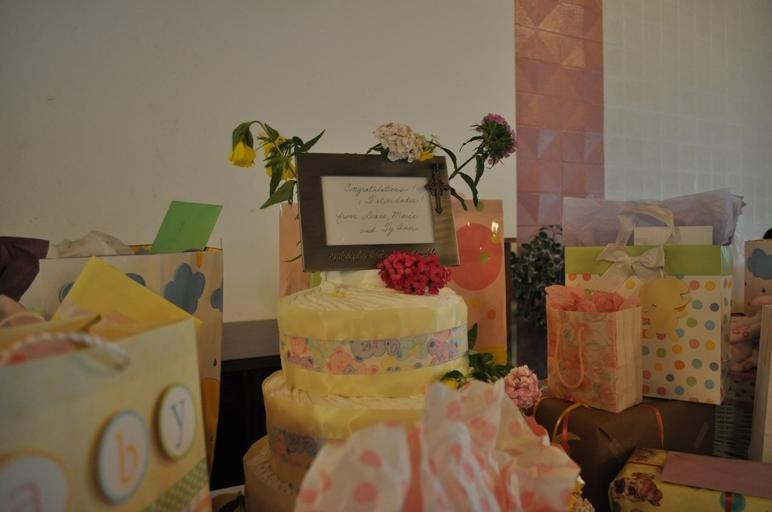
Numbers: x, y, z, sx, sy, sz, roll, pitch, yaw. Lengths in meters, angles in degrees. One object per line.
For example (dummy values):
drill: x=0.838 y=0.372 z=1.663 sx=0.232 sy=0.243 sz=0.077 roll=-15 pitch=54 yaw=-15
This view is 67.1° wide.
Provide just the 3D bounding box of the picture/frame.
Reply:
picture/frame: x=-0.032 y=-0.119 z=1.639 sx=0.329 sy=0.252 sz=0.026 roll=0 pitch=-14 yaw=-22

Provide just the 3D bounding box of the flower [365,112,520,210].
flower: x=0.224 y=-0.313 z=1.815 sx=0.444 sy=0.197 sz=0.395 roll=-5 pitch=-16 yaw=-10

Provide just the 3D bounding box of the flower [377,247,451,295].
flower: x=0.078 y=0.051 z=1.645 sx=0.183 sy=0.135 sz=0.168 roll=-1 pitch=3 yaw=-22
